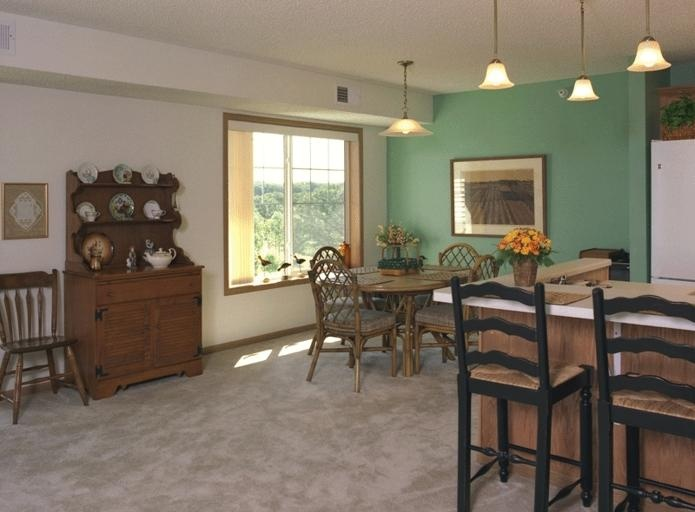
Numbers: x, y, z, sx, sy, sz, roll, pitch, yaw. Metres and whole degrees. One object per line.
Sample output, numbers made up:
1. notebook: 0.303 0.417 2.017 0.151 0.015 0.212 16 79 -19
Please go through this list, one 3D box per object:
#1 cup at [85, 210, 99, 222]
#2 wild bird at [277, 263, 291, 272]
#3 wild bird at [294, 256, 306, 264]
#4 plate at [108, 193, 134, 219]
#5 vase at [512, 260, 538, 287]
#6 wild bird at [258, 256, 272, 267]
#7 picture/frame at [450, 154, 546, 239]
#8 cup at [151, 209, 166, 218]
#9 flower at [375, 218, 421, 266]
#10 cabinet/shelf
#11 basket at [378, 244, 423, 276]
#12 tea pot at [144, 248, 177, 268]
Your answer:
1. cup: -2.326 -0.362 4.823 0.130 0.091 0.086 0 -6 -8
2. wild bird: -0.788 0.159 6.542 0.124 0.067 0.174 -3 -16 -34
3. wild bird: -0.620 0.052 6.806 0.066 0.112 0.153 -25 -6 30
4. plate: -2.143 -0.473 5.021 0.229 0.225 0.059 3 -4 -40
5. vase: 1.173 0.114 3.535 0.171 0.184 0.174 -1 -2 41
6. wild bird: -0.991 0.055 6.375 0.094 0.115 0.169 -23 -5 22
7. picture/frame: 1.897 -0.757 6.525 1.251 1.013 0.051 3 8 42
8. cup: -1.853 -0.419 5.204 0.073 0.079 0.114 -1 -3 28
9. flower: 0.614 -0.151 6.656 0.607 0.726 0.630 0 -3 7
10. cabinet/shelf: -2.005 0.190 4.925 1.107 1.953 0.675 -9 12 -39
11. basket: 0.574 0.074 5.691 0.432 0.304 0.439 3 6 44
12. tea pot: -1.780 0.017 5.045 0.259 0.170 0.190 1 -1 -13
